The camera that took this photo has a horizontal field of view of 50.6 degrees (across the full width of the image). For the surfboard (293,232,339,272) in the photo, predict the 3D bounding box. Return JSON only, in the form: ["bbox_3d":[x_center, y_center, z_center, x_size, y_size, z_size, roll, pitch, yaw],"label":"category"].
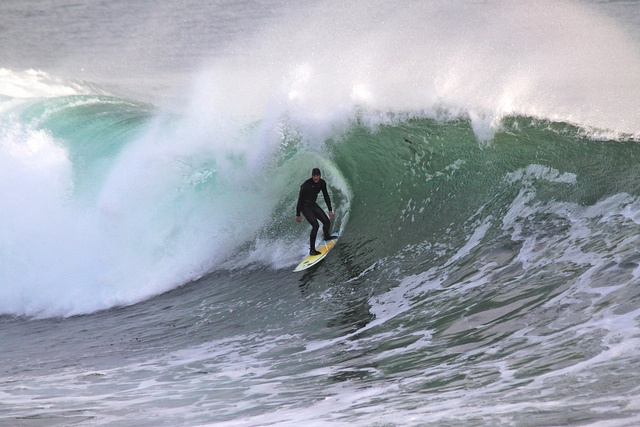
[{"bbox_3d":[-0.052,0.976,16.385,0.461,0.213,1.654,8,44,47],"label":"surfboard"}]

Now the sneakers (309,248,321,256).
[{"bbox_3d":[-0.152,0.916,16.365,0.320,0.190,0.106,-7,31,-10],"label":"sneakers"}]

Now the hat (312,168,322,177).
[{"bbox_3d":[-0.093,-0.948,15.475,0.183,0.189,0.215,0,7,7],"label":"hat"}]
